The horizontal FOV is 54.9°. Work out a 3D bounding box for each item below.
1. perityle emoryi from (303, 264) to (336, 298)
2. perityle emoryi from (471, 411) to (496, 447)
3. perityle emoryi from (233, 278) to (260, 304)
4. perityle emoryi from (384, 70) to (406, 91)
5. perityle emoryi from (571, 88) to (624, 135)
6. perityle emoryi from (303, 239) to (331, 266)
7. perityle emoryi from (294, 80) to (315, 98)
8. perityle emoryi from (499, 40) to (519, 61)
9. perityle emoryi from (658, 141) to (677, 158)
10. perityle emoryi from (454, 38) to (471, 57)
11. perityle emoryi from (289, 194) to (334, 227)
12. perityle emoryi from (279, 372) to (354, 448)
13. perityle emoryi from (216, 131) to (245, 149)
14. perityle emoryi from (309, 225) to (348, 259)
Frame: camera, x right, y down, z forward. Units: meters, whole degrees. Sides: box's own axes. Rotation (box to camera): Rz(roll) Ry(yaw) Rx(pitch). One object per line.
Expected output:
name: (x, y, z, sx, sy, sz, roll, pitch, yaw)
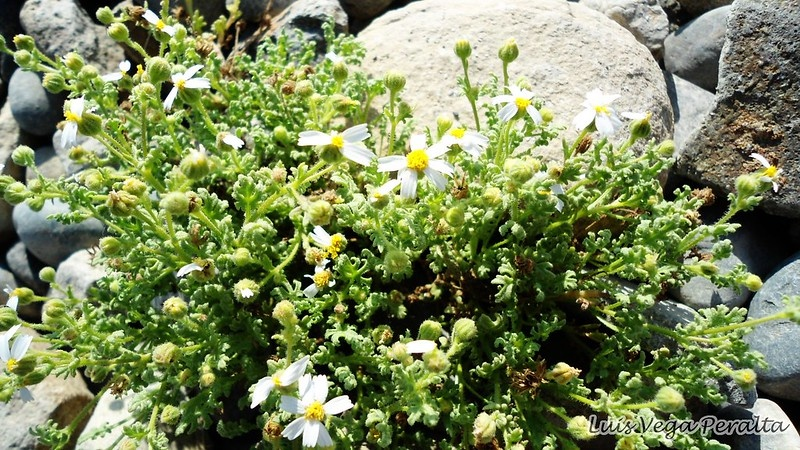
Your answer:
perityle emoryi: (-0.640, 0.475, 6.288, 0.268, 0.120, 0.257, -2, 74, 34)
perityle emoryi: (0.620, 1.593, 6.023, 0.136, 0.253, 0.186, -8, 97, 19)
perityle emoryi: (-1.225, 0.549, 6.169, 0.175, 0.250, 0.142, 4, 59, -3)
perityle emoryi: (-0.044, -1.172, 6.434, 0.159, 0.160, 0.141, -14, 67, -1)
perityle emoryi: (1.599, -0.875, 6.240, 0.343, 0.210, 0.393, 24, 60, 8)
perityle emoryi: (-0.686, 0.248, 6.370, 0.202, 0.117, 0.183, 8, 94, -8)
perityle emoryi: (-0.814, -1.138, 6.493, 0.147, 0.133, 0.160, -10, 61, -11)
perityle emoryi: (0.886, -1.446, 6.397, 0.141, 0.185, 0.175, 10, 59, 1)
perityle emoryi: (2.122, -0.610, 6.243, 0.177, 0.142, 0.134, 1, 35, 12)
perityle emoryi: (0.513, -1.461, 6.486, 0.144, 0.145, 0.162, -7, 30, 2)
perityle emoryi: (-0.699, -0.094, 6.206, 0.205, 0.350, 0.144, 1, 92, -34)
perityle emoryi: (-0.682, 1.452, 5.920, 0.485, 0.360, 0.500, 26, 61, 10)
perityle emoryi: (-1.435, -0.684, 6.378, 0.133, 0.055, 0.219, -15, 27, -38)
perityle emoryi: (-0.607, 0.154, 6.326, 0.302, 0.270, 0.174, 17, 59, 5)
